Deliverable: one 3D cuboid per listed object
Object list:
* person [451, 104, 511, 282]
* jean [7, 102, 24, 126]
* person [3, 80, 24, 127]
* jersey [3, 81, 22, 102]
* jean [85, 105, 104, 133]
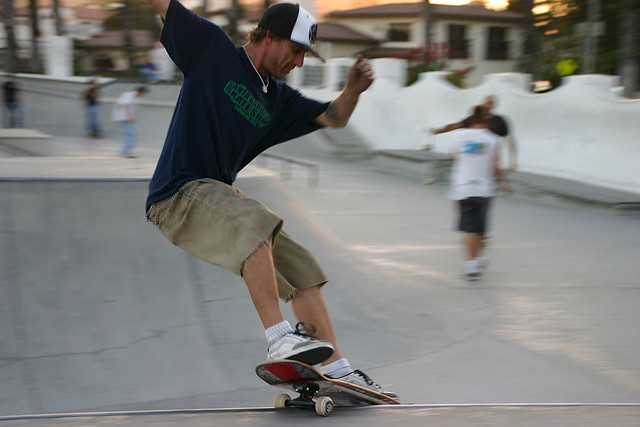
[{"bbox_3d":[2.400,-0.338,13.589,0.782,2.544,0.939,1,13,-6],"label":"person"},{"bbox_3d":[-7.700,-2.518,22.796,0.307,0.580,1.020,-1,11,-15],"label":"jean"},{"bbox_3d":[-7.730,-2.766,22.790,0.484,1.170,1.522,-2,12,-18],"label":"person"},{"bbox_3d":[-7.730,-3.068,22.628,0.528,0.557,0.163,-2,3,-26],"label":"jersey"},{"bbox_3d":[-6.155,-2.619,24.668,0.489,0.751,1.570,-1,11,-13],"label":"jean"}]
